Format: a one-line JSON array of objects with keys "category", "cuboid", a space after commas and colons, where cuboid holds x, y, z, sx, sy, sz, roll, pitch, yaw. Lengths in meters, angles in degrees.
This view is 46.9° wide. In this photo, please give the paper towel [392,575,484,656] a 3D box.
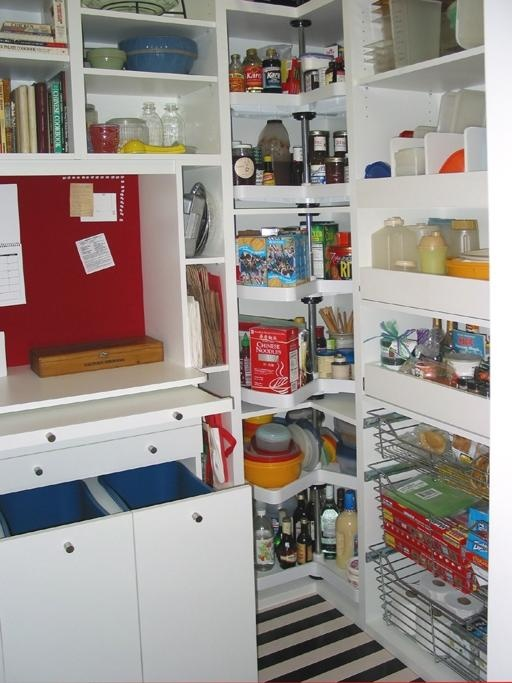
[{"category": "paper towel", "cuboid": [0.541, 0.827, 1.772, 0.199, 0.097, 0.278, -6, 13, -24]}]

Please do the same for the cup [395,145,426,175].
[{"category": "cup", "cuboid": [0.424, -0.494, 1.615, 0.040, 0.073, 0.110, -12, 14, -33]}]

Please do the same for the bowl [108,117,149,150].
[{"category": "bowl", "cuboid": [-0.381, -0.623, 1.817, 0.121, 0.097, 0.121, 1, 14, 0]}]

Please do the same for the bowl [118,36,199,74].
[{"category": "bowl", "cuboid": [-0.275, -0.840, 1.719, 0.224, 0.127, 0.103, -7, 12, -13]}]

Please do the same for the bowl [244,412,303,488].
[{"category": "bowl", "cuboid": [0.058, 0.370, 2.068, 0.206, 0.148, 0.202, 0, 7, 0]}]

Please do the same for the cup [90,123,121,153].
[{"category": "cup", "cuboid": [-0.426, -0.579, 1.676, 0.079, 0.063, 0.086, 1, 13, 0]}]
